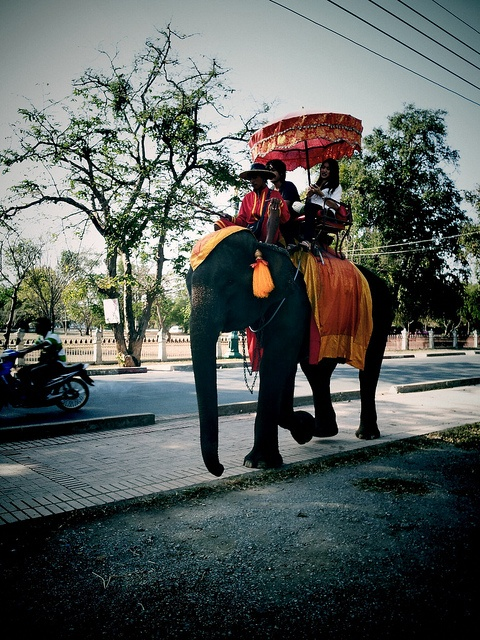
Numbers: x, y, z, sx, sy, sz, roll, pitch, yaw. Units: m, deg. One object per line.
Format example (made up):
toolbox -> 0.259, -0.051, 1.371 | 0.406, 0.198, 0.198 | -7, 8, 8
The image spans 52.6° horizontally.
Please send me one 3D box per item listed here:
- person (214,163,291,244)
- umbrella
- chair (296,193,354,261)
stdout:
person -> 0.138, -0.921, 4.028 | 0.573, 0.718, 0.427 | -1, 3, 33
umbrella -> 0.677, -1.736, 5.082 | 1.100, 0.726, 1.122 | -3, 0, 28
chair -> 0.881, -0.945, 4.889 | 0.448, 0.545, 0.472 | 7, 13, -4
